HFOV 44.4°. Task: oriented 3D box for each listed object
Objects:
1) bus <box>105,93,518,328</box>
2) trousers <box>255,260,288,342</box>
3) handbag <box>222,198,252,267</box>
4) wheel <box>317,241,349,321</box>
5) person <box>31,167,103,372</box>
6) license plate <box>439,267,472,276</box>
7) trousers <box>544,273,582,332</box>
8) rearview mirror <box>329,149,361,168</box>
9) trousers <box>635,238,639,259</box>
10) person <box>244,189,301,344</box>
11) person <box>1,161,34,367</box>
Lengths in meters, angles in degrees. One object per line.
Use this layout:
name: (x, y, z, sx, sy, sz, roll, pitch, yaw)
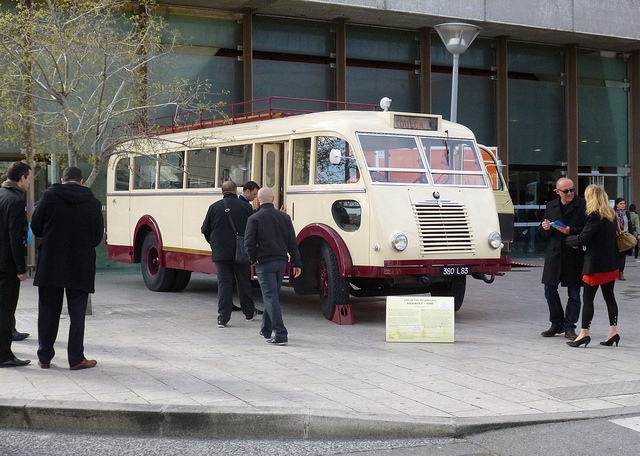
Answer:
bus: (-0.941, -0.573, 17.287, 3.525, 4.146, 10.042, 1, 0, -41)
trousers: (-0.717, 1.103, 11.977, 0.474, 1.259, 0.477, -1, 2, -29)
handbag: (-1.408, 0.081, 13.272, 0.165, 1.486, 0.587, -18, -20, -17)
wheel: (0.178, 0.872, 14.165, 0.335, 1.282, 1.169, -5, -18, -7)
person: (-3.286, 0.506, 10.279, 0.899, 2.636, 0.615, -1, 2, -20)
license plate: (2.341, 0.721, 13.456, 0.692, 0.141, 0.114, -1, 2, -24)
trousers: (3.862, 1.182, 12.538, 0.567, 0.974, 0.489, 1, 2, 31)
rearview mirror: (0.462, -1.236, 13.720, 0.570, 0.235, 0.306, 4, 3, -45)
trousers: (11.160, 0.839, 27.697, 0.124, 0.475, 1.221, 1, 2, 22)
person: (-0.714, 0.569, 12.028, 0.729, 2.342, 0.540, 0, 2, 13)
person: (-4.040, 0.460, 10.428, 0.355, 2.666, 0.545, -1, 2, -20)
